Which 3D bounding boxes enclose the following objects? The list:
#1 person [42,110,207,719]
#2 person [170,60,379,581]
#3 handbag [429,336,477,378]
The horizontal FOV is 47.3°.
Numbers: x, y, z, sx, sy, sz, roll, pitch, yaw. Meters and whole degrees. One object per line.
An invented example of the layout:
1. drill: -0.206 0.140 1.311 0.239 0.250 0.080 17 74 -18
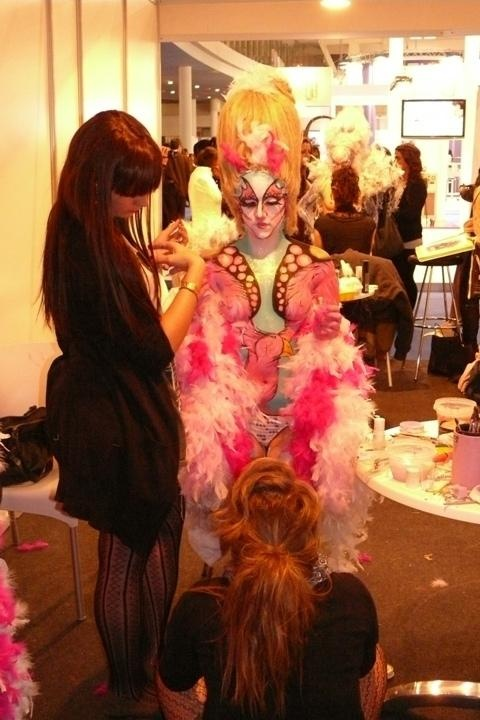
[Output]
1. person: -0.237 0.201 1.146 0.301 1.360 0.371 0 5 7
2. person: 0.083 -0.032 1.388 0.411 1.329 0.360 -1 -7 13
3. handbag: 1.887 -0.041 4.979 0.407 0.402 0.411 0 -1 -21
